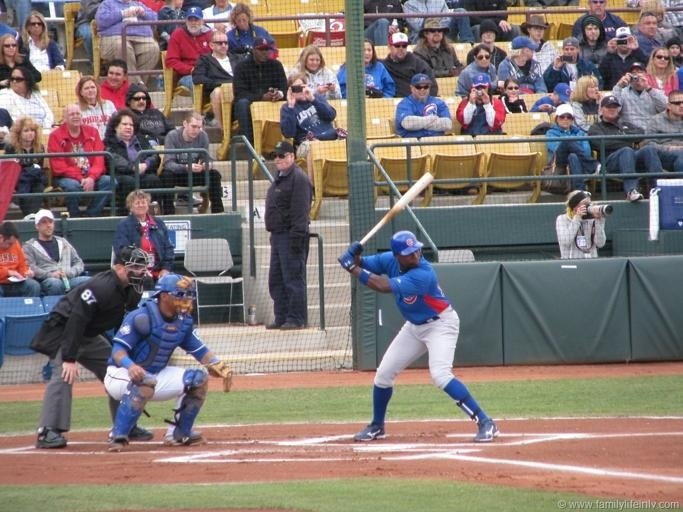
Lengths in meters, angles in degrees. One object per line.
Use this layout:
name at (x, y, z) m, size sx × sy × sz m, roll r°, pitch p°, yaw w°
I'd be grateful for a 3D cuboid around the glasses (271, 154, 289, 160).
glasses at (-1.023, -1.597, 26.160) m, size 0.251 × 0.079 × 0.091 m, roll 10°, pitch 18°, yaw 37°

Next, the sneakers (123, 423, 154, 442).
sneakers at (-2.861, 2.539, 22.404) m, size 0.428 × 0.203 × 0.150 m, roll 1°, pitch 8°, yaw -18°

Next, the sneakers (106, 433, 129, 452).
sneakers at (-3.084, 2.581, 21.843) m, size 0.279 × 0.235 × 0.291 m, roll -3°, pitch 14°, yaw -8°

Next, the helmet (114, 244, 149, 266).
helmet at (-2.935, 0.026, 22.085) m, size 0.427 × 0.243 × 0.320 m, roll 4°, pitch 5°, yaw 10°

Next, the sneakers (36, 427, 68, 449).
sneakers at (-4.043, 2.537, 22.025) m, size 0.378 × 0.282 × 0.240 m, roll -2°, pitch 3°, yaw -12°

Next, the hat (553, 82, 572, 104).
hat at (4.150, -3.002, 29.618) m, size 0.268 × 0.230 × 0.449 m, roll -3°, pitch 49°, yaw -3°

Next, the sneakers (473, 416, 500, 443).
sneakers at (2.006, 2.401, 21.798) m, size 0.196 × 0.298 × 0.398 m, roll 5°, pitch 15°, yaw 27°

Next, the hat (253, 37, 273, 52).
hat at (-1.431, -3.797, 28.405) m, size 0.260 × 0.196 × 0.380 m, roll -1°, pitch 20°, yaw -25°

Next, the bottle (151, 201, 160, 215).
bottle at (-3.189, -0.778, 27.055) m, size 0.163 × 0.236 × 0.227 m, roll 6°, pitch 4°, yaw 10°

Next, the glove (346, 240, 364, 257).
glove at (0.193, -0.106, 22.419) m, size 0.153 × 0.208 × 0.207 m, roll 31°, pitch 29°, yaw 26°

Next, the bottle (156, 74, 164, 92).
bottle at (-3.564, -3.361, 31.117) m, size 0.218 × 0.396 × 0.229 m, roll 1°, pitch 0°, yaw 0°

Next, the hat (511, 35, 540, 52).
hat at (3.556, -4.042, 30.451) m, size 0.415 × 0.247 × 0.282 m, roll 0°, pitch 17°, yaw -7°

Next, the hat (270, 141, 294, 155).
hat at (-0.925, -1.734, 26.214) m, size 0.216 × 0.181 × 0.327 m, roll 2°, pitch -1°, yaw 33°

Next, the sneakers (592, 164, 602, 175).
sneakers at (4.513, -1.490, 27.789) m, size 0.071 × 0.231 × 0.086 m, roll 7°, pitch -8°, yaw 1°

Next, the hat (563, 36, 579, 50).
hat at (4.337, -3.976, 29.908) m, size 0.236 × 0.198 × 0.249 m, roll 2°, pitch 5°, yaw 13°

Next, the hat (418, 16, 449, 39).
hat at (1.770, -4.375, 30.769) m, size 0.549 × 0.274 × 0.672 m, roll 0°, pitch -12°, yaw -5°

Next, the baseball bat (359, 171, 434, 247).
baseball bat at (0.898, -0.736, 26.158) m, size 1.699 × 0.186 × 0.177 m, roll -49°, pitch 30°, yaw -18°

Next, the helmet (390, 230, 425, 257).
helmet at (0.839, -0.152, 22.033) m, size 0.296 × 0.223 × 0.374 m, roll -27°, pitch 18°, yaw -37°

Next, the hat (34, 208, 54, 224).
hat at (-4.917, -0.616, 26.177) m, size 0.279 × 0.246 × 0.368 m, roll -4°, pitch 15°, yaw -10°

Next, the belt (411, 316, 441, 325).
belt at (1.179, 0.913, 22.082) m, size 0.384 × 0.134 × 0.072 m, roll 0°, pitch 14°, yaw 6°

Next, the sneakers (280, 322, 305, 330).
sneakers at (-0.810, 1.174, 26.433) m, size 0.370 × 0.173 × 0.140 m, roll 5°, pitch -2°, yaw -11°

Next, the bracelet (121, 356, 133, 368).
bracelet at (-2.931, 1.470, 21.623) m, size 0.130 × 0.137 × 0.136 m, roll -11°, pitch -18°, yaw 4°

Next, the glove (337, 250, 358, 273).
glove at (0.086, 0.136, 22.400) m, size 0.217 × 0.294 × 0.102 m, roll -26°, pitch -8°, yaw -37°

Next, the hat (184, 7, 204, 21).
hat at (-2.742, -4.518, 29.710) m, size 0.244 × 0.204 × 0.373 m, roll 2°, pitch 2°, yaw 3°

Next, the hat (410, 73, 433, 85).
hat at (1.420, -3.136, 28.528) m, size 0.312 × 0.188 × 0.458 m, roll 1°, pitch 5°, yaw -8°

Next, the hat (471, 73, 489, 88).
hat at (2.511, -3.123, 28.496) m, size 0.210 × 0.198 × 0.362 m, roll 1°, pitch 4°, yaw 12°

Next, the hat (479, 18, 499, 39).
hat at (2.853, -4.323, 30.580) m, size 0.321 × 0.340 × 0.392 m, roll 1°, pitch -6°, yaw -4°

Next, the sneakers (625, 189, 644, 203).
sneakers at (5.175, -1.023, 27.906) m, size 0.137 × 0.173 × 0.358 m, roll -2°, pitch -4°, yaw -20°

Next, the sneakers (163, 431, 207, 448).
sneakers at (-2.186, 2.544, 21.996) m, size 0.527 × 0.233 × 0.218 m, roll 0°, pitch 1°, yaw -3°

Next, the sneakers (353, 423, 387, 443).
sneakers at (0.394, 2.496, 22.117) m, size 0.451 × 0.199 × 0.184 m, roll -1°, pitch 3°, yaw -21°
